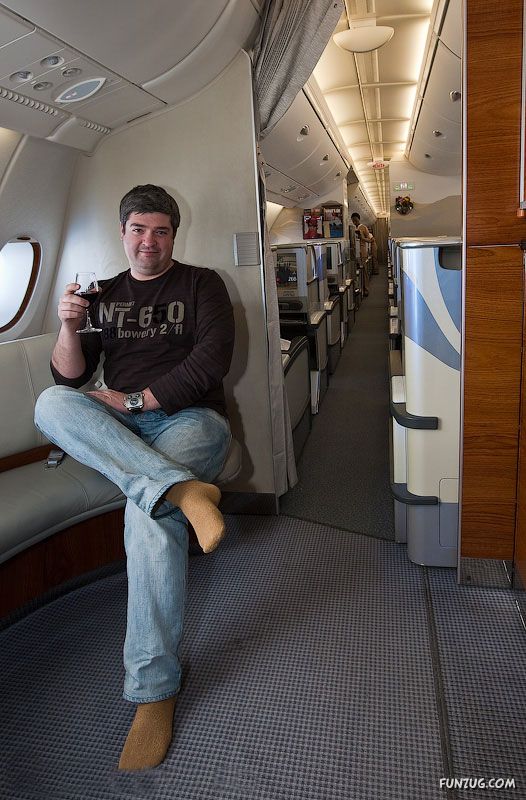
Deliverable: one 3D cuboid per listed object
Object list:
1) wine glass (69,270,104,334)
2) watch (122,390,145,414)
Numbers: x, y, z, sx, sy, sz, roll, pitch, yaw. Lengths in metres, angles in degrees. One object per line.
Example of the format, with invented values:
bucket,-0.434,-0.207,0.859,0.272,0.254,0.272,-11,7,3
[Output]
wine glass,-0.669,-0.362,1.962,0.087,0.210,0.417,-7,8,-19
watch,-0.477,0.012,1.893,0.050,0.082,0.081,3,4,6
